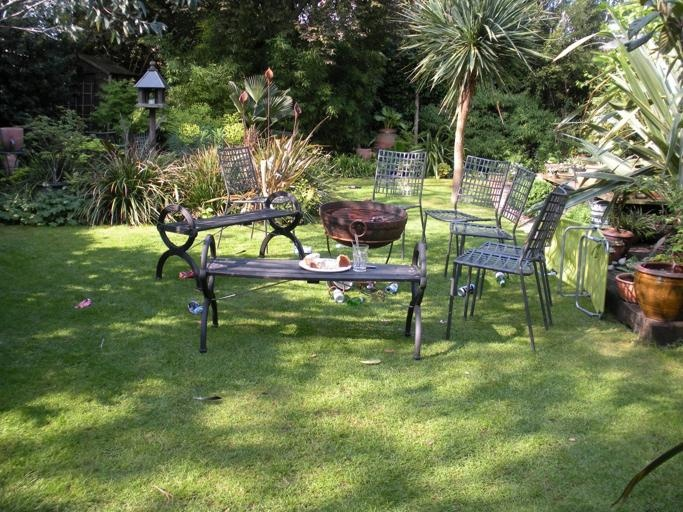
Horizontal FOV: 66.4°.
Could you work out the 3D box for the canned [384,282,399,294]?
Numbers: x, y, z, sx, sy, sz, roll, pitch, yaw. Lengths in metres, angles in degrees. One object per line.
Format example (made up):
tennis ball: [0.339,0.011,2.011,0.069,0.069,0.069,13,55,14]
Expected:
canned: [0.493,0.321,5.146,0.085,0.138,0.247,-9,-5,11]

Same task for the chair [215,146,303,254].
chair: [-1.115,-0.629,6.865,0.766,1.400,0.950,-6,-12,38]

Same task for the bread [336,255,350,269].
bread: [0.029,0.050,4.155,0.092,0.106,0.088,18,-1,-31]

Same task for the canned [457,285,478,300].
canned: [1.206,0.313,5.044,0.137,0.089,0.198,-13,9,40]

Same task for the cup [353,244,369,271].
cup: [0.137,0.026,4.199,0.170,0.259,0.178,0,2,0]

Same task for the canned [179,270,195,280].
canned: [-1.573,0.192,5.322,0.111,0.065,0.156,9,10,26]

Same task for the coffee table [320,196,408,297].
coffee table: [0.173,-0.175,4.954,0.799,0.732,0.866,7,12,22]

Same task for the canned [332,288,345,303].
canned: [-0.023,0.379,4.906,0.106,0.106,0.114,-24,36,-14]
